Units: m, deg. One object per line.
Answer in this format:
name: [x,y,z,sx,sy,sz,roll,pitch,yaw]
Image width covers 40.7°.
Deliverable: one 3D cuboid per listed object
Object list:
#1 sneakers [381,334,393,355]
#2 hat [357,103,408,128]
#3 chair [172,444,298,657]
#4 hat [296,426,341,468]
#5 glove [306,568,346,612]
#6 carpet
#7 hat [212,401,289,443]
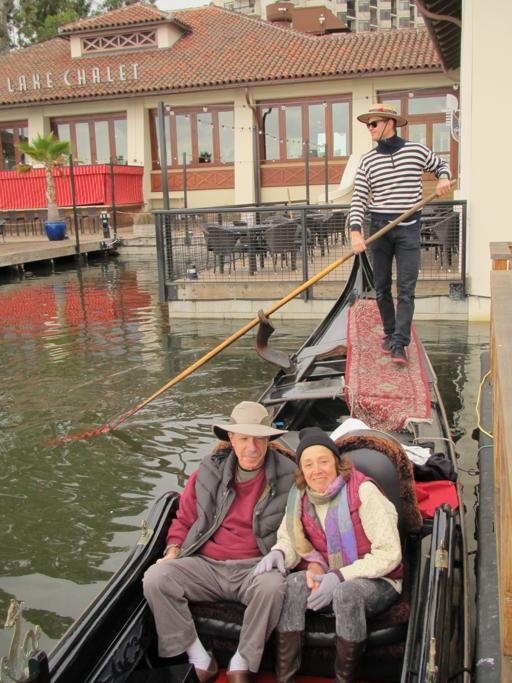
sneakers: [0.945,0.024,4.986,0.129,0.137,0.367,1,6,13]
hat: [0.854,-1.556,4.679,0.312,0.170,0.365,-3,9,12]
chair: [-0.030,0.755,2.636,0.395,0.230,0.658,1,42,14]
hat: [0.228,0.383,2.540,0.126,0.120,0.152,-7,-31,-4]
glove: [0.230,0.851,2.328,0.123,0.126,0.084,-4,10,4]
carpet: [0.866,0.146,4.661,0.452,0.229,1.751,-4,19,12]
hat: [-0.013,0.396,3.395,0.466,0.198,0.489,-1,-11,1]
